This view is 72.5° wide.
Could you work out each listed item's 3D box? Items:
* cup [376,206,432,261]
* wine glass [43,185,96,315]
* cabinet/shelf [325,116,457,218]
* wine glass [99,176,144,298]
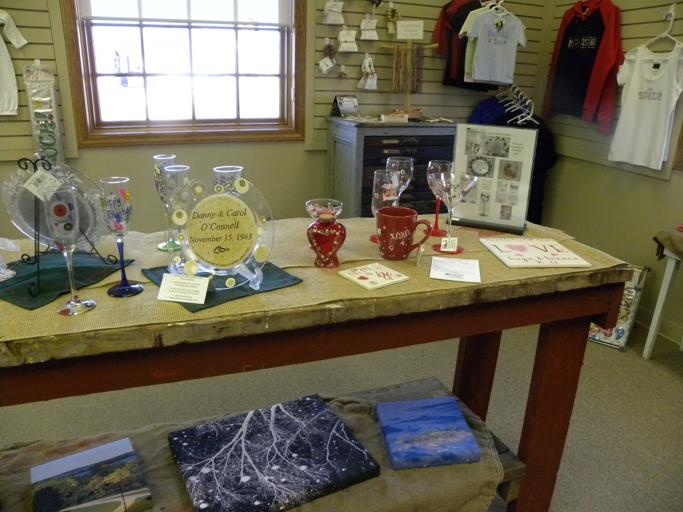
[{"bbox_3d":[0.209,-0.093,1.777,0.243,0.180,0.154,-2,24,-8],"label":"cup"},{"bbox_3d":[-0.778,-0.018,1.325,0.118,0.329,0.190,-14,26,-27],"label":"wine glass"},{"bbox_3d":[0.576,-0.892,4.425,0.945,0.869,0.551,-4,30,-8],"label":"cabinet/shelf"},{"bbox_3d":[-0.684,-0.063,1.430,0.117,0.334,0.203,-10,25,-19],"label":"wine glass"}]
